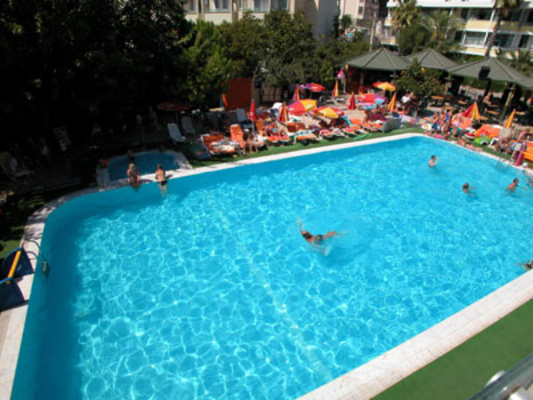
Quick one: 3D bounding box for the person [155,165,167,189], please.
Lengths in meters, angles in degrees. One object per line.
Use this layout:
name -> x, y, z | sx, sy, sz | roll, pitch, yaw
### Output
person -> -5.447, -1.315, 18.096 | 0.580, 1.207, 1.232 | -10, 27, -14

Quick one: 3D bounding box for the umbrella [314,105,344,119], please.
umbrella -> 4.545, -6.426, 25.382 | 1.886, 0.841, 2.068 | 5, 33, 5

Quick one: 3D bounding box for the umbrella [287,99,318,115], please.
umbrella -> 2.500, -6.299, 23.847 | 1.680, 1.036, 2.366 | 8, 29, 22

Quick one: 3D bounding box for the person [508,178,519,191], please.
person -> 13.722, -0.905, 19.378 | 0.440, 0.767, 0.796 | 15, 32, 34

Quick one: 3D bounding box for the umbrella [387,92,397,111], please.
umbrella -> 10.108, -7.899, 27.939 | 0.670, 1.456, 1.493 | 6, 28, 20

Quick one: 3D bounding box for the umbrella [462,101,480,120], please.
umbrella -> 14.960, -6.479, 25.483 | 0.972, 1.294, 1.062 | 1, 26, 9

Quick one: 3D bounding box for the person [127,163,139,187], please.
person -> -6.662, -1.277, 17.514 | 0.565, 1.191, 0.567 | -18, 29, -28
